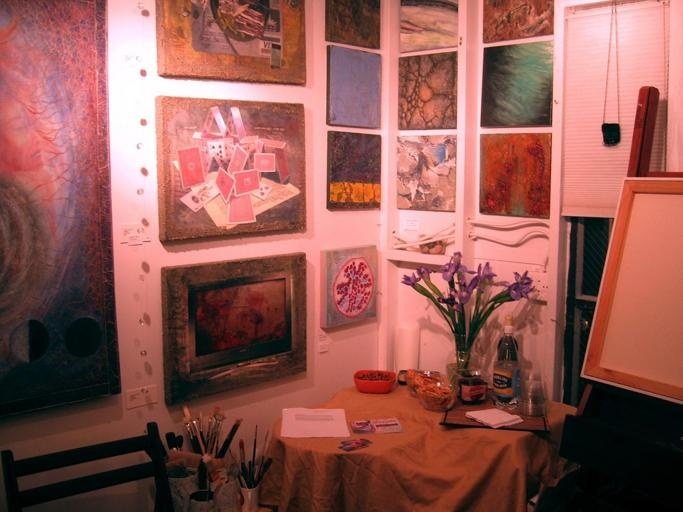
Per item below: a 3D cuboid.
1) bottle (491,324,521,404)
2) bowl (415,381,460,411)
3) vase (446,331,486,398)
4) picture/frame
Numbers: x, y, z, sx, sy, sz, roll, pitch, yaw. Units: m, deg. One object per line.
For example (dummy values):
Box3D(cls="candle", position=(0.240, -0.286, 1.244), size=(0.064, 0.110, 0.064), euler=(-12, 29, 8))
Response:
Box3D(cls="bottle", position=(0.800, 0.506, 2.468), size=(0.130, 0.418, 0.134), euler=(2, 0, 0))
Box3D(cls="bowl", position=(0.457, 0.654, 2.429), size=(0.128, 0.075, 0.129), euler=(1, -3, 0))
Box3D(cls="vase", position=(0.612, 0.524, 2.552), size=(0.167, 0.311, 0.192), euler=(0, 2, -15))
Box3D(cls="picture/frame", position=(-0.503, 0.332, 2.514), size=(0.775, 0.660, 0.074), euler=(-10, 13, -34))
